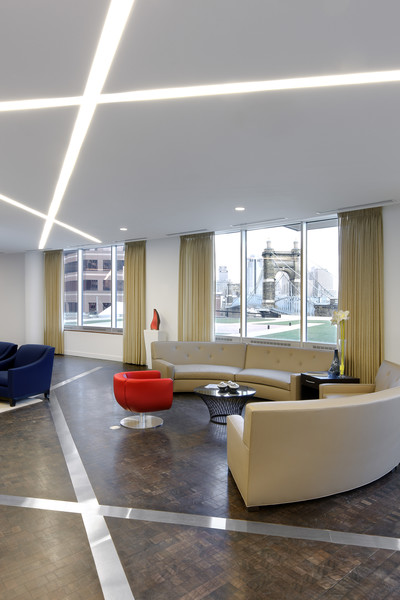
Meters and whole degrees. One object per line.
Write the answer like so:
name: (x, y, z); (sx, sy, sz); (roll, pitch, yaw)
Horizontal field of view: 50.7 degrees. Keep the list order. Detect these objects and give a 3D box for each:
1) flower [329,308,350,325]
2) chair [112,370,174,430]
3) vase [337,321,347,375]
flower: (1.900, 0.223, 5.751); (0.234, 0.185, 0.247); (-1, 2, -1)
chair: (-0.678, 1.118, 4.979); (0.612, 0.630, 0.676); (-1, 3, -26)
vase: (1.983, 0.680, 5.888); (0.078, 0.787, 0.078); (2, -8, 8)
